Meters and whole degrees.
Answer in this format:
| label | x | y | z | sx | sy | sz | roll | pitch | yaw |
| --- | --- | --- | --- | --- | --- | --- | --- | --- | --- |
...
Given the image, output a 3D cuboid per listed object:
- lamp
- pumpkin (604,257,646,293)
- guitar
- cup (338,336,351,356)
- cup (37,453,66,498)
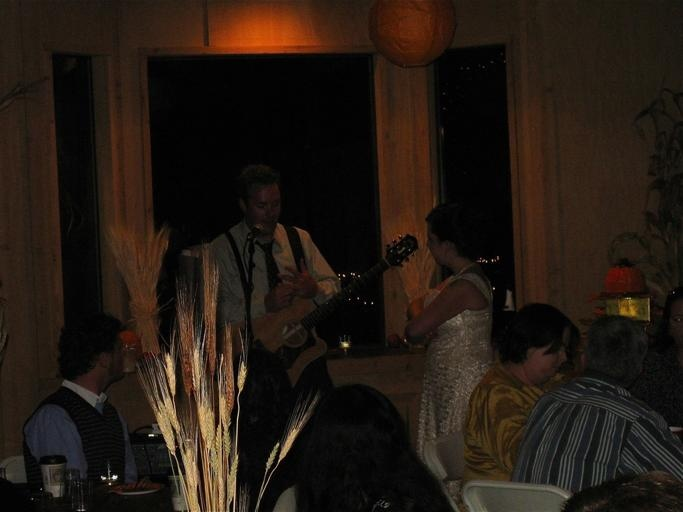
| label | x | y | z | sx | sy | sz | roll | pitch | yaw |
| --- | --- | --- | --- | --- | --- | --- | --- | --- | --- |
| lamp | 1.760 | 0.212 | 5.033 | 0.361 | 0.483 | 0.381 | -1 | -3 | -14 |
| pumpkin | 1.776 | 0.125 | 5.148 | 0.161 | 0.202 | 0.261 | -1 | -7 | -1 |
| guitar | -0.112 | 0.315 | 5.081 | 1.286 | 0.630 | 0.190 | -38 | -3 | -13 |
| cup | 0.010 | 0.646 | 5.885 | 0.096 | 0.194 | 0.108 | 0 | -4 | -8 |
| cup | -1.194 | 0.903 | 3.410 | 0.124 | 0.231 | 0.138 | 1 | -6 | -21 |
